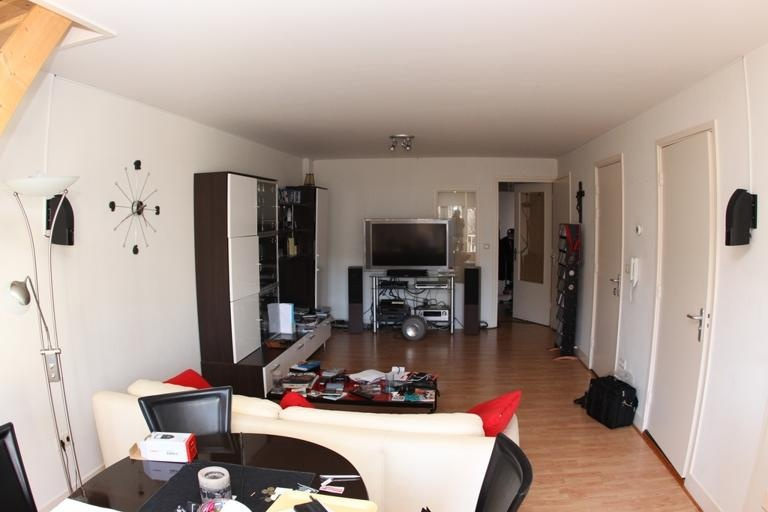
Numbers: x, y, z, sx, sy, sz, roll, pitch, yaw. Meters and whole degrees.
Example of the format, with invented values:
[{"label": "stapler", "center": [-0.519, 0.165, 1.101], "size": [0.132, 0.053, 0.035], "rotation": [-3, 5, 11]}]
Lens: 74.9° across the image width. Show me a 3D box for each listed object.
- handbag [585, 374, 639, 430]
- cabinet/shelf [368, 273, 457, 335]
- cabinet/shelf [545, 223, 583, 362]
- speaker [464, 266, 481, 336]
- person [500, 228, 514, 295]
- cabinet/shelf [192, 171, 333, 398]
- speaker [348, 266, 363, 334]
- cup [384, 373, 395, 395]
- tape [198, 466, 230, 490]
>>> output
[{"label": "handbag", "center": [2.351, 1.501, 5.186], "size": [0.387, 0.419, 0.461], "rotation": [-3, 11, -35]}, {"label": "cabinet/shelf", "center": [0.474, 0.737, 8.239], "size": [1.358, 0.883, 0.706], "rotation": [-1, 2, 0]}, {"label": "cabinet/shelf", "center": [2.533, 0.437, 6.923], "size": [0.303, 1.788, 0.607], "rotation": [4, 12, 16]}, {"label": "speaker", "center": [1.377, 0.690, 7.882], "size": [0.253, 1.033, 0.172], "rotation": [-1, 12, -6]}, {"label": "person", "center": [2.354, 0.104, 9.713], "size": [0.259, 1.354, 0.858], "rotation": [3, 12, 13]}, {"label": "cabinet/shelf", "center": [-1.435, 0.347, 5.830], "size": [0.840, 2.527, 2.643], "rotation": [0, 4, 5]}, {"label": "speaker", "center": [-0.458, 0.747, 8.152], "size": [0.242, 1.158, 0.336], "rotation": [-1, -2, -2]}, {"label": "cup", "center": [0.052, 1.269, 5.037], "size": [0.107, 0.194, 0.104], "rotation": [0, 7, 0]}, {"label": "tape", "center": [-0.952, 1.234, 2.814], "size": [0.130, 0.123, 0.129], "rotation": [1, -3, -1]}]
